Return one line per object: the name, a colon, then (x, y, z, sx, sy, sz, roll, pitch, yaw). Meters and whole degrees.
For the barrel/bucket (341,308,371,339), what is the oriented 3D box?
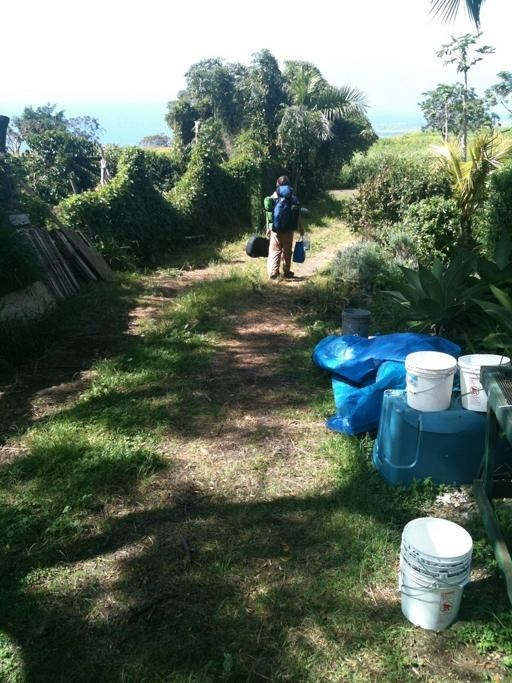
barrel/bucket: (1.114, -0.212, 6.487, 0.330, 0.324, 0.314, 1, 8, 0)

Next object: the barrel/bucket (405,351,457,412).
barrel/bucket: (1.131, 0.283, 3.829, 0.399, 0.329, 0.375, -1, 20, 1)

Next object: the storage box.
storage box: (1.249, 0.668, 3.928, 0.840, 0.467, 0.519, 3, 11, 4)

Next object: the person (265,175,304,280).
person: (0.447, -2.035, 10.136, 0.660, 1.842, 0.692, -10, 20, -16)

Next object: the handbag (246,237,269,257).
handbag: (0.022, -1.886, 11.191, 0.432, 0.396, 0.417, 10, -11, -37)

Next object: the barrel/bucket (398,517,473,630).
barrel/bucket: (0.807, 1.180, 2.941, 0.476, 0.458, 0.476, 1, 14, 0)

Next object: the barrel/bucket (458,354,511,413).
barrel/bucket: (1.463, 0.261, 3.752, 0.396, 0.370, 0.368, -4, 14, 1)
